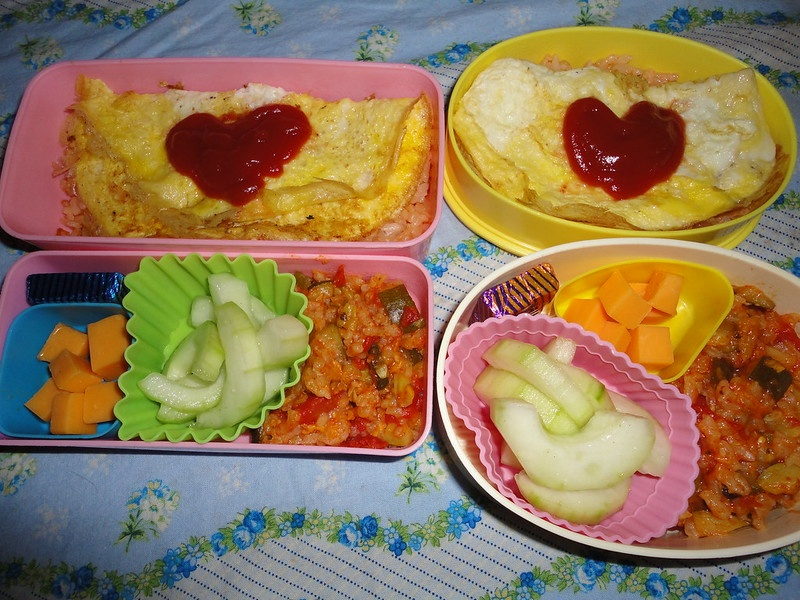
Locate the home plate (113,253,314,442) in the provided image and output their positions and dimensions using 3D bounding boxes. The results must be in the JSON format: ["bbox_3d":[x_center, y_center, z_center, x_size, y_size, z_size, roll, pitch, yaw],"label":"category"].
[{"bbox_3d":[-0.820,0.214,3.279,0.845,0.299,0.851,-3,74,4],"label":"home plate"}]
